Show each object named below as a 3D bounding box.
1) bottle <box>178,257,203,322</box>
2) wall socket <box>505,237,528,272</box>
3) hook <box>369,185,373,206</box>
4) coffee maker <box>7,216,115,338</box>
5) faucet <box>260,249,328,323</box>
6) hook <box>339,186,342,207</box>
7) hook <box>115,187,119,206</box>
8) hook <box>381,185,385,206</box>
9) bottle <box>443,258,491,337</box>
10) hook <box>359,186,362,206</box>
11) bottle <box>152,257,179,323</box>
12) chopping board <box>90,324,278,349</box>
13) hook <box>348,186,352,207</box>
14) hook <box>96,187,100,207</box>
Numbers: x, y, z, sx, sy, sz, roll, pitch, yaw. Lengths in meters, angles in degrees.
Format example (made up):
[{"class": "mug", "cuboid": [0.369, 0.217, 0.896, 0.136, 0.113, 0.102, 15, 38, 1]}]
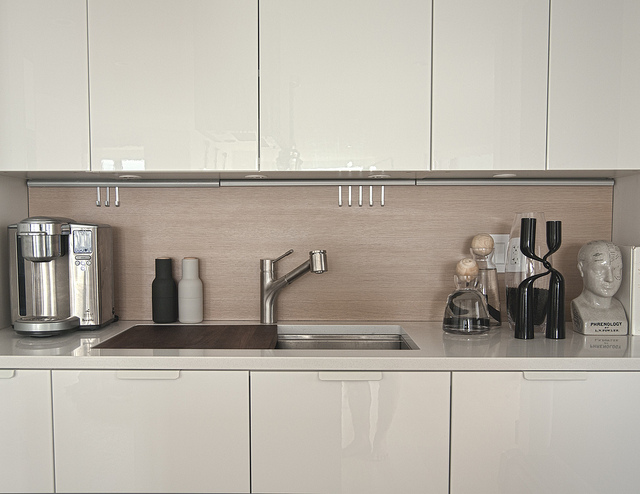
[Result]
[{"class": "bottle", "cuboid": [-0.554, 0.185, 2.541, 0.103, 0.267, 0.046, -1, 3, -13]}, {"class": "wall socket", "cuboid": [0.816, 0.032, 2.459, 0.089, 0.140, 0.060, 1, 3, 27]}, {"class": "hook", "cuboid": [0.222, -0.223, 2.598, 0.011, 0.087, 0.017, 2, 3, 39]}, {"class": "coffee maker", "cuboid": [-1.036, 0.082, 2.409, 0.362, 0.494, 0.259, 2, 7, -3]}, {"class": "faucet", "cuboid": [-0.123, 0.169, 2.523, 0.313, 0.316, 0.108, 1, 3, 31]}, {"class": "hook", "cuboid": [0.089, -0.219, 2.592, 0.011, 0.090, 0.034, 0, 3, 6]}, {"class": "hook", "cuboid": [-0.885, -0.219, 2.594, 0.016, 0.079, 0.022, -1, 3, -20]}, {"class": "hook", "cuboid": [0.274, -0.223, 2.594, 0.014, 0.087, 0.018, 0, 3, 5]}, {"class": "bottle", "cuboid": [0.597, 0.199, 2.416, 0.177, 0.298, 0.176, 0, 3, 0]}, {"class": "hook", "cuboid": [0.177, -0.222, 2.593, 0.011, 0.084, 0.023, 0, 3, 5]}, {"class": "bottle", "cuboid": [-0.655, 0.185, 2.558, 0.125, 0.274, 0.091, -3, 4, -42]}, {"class": "chopping board", "cuboid": [-0.511, 0.354, 2.352, 0.665, 0.040, 0.361, 0, 3, -2]}, {"class": "hook", "cuboid": [0.129, -0.219, 2.593, 0.016, 0.089, 0.031, 0, 3, 13]}, {"class": "hook", "cuboid": [-0.966, -0.216, 2.593, 0.012, 0.083, 0.032, -1, 3, -19]}]
